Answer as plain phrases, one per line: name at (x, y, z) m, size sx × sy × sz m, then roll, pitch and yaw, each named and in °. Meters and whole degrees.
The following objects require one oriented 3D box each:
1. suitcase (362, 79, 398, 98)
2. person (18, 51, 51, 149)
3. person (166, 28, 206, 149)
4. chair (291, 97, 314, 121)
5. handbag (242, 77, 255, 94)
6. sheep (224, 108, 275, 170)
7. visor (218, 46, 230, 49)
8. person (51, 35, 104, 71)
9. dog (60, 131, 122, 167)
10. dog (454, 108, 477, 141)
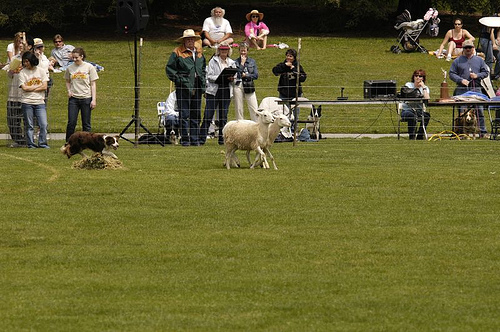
suitcase at (3.815, -2.286, 37.156) m, size 1.053 × 0.607 × 0.731 m, roll -1°, pitch -2°, yaw -7°
person at (-5.790, -1.775, 33.914) m, size 0.814 × 2.618 × 0.471 m, roll -1°, pitch 5°, yaw -11°
person at (-1.694, -2.140, 34.680) m, size 0.762 × 3.245 × 1.035 m, roll 3°, pitch 5°, yaw 32°
chair at (1.682, -1.720, 36.807) m, size 0.897 × 0.783 × 0.570 m, roll 0°, pitch -3°, yaw -6°
handbag at (-0.027, -2.251, 35.632) m, size 0.333 × 0.425 × 0.227 m, roll 0°, pitch 5°, yaw -4°
sheep at (0.077, -0.633, 31.258) m, size 1.725 × 1.439 × 0.681 m, roll 0°, pitch -2°, yaw 43°
visor at (-0.698, -3.288, 34.806) m, size 0.299 × 0.070 × 0.180 m, roll 0°, pitch 5°, yaw -2°
person at (-5.368, -3.441, 39.180) m, size 1.967 × 1.033 × 0.867 m, roll 13°, pitch 25°, yaw 33°
dog at (-3.961, -0.437, 31.766) m, size 1.760 × 0.819 × 0.562 m, roll 4°, pitch 6°, yaw 40°
dog at (6.521, -1.117, 37.354) m, size 0.494 × 0.923 × 1.843 m, roll -4°, pitch -7°, yaw 6°
